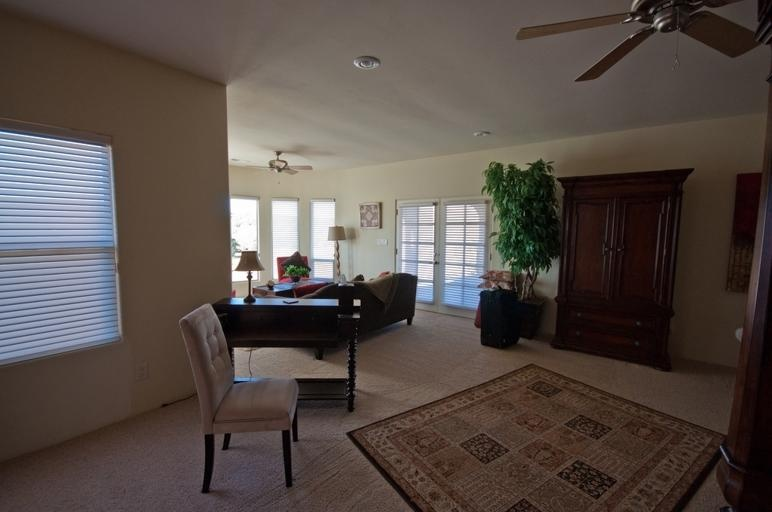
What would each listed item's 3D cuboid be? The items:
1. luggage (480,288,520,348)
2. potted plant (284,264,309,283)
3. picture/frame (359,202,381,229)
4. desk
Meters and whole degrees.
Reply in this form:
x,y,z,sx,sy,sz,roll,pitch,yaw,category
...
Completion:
x,y,z,sx,sy,sz,roll,pitch,yaw,category
1.587,0.856,6.648,0.480,0.715,0.467,-2,2,-20,luggage
-1.489,0.274,8.047,0.357,0.222,0.287,0,-2,-13,potted plant
-0.288,-0.806,9.311,0.078,0.476,0.555,-3,2,-43,picture/frame
-0.972,1.244,4.941,1.686,1.300,1.107,-1,1,2,desk
